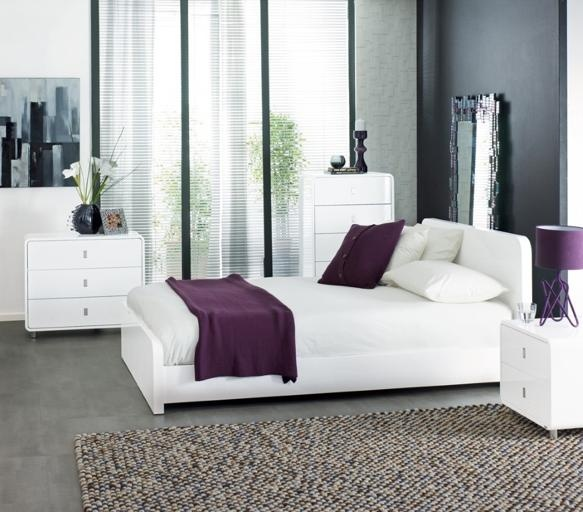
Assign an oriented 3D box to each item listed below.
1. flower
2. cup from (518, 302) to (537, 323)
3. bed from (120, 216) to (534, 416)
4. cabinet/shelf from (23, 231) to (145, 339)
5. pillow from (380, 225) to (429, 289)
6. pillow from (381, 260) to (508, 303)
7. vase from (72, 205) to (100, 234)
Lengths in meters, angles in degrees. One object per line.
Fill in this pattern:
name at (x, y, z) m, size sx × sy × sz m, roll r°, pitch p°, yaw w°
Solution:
flower at (-1.872, -0.761, 5.354) m, size 0.534 × 0.599 × 0.503 m, roll 7°, pitch 5°, yaw 36°
cup at (1.181, 0.286, 2.952) m, size 0.083 × 0.097 × 0.096 m, roll 0°, pitch 0°, yaw -13°
bed at (0.341, 0.203, 3.481) m, size 1.605 × 0.704 × 1.296 m, roll -2°, pitch 4°, yaw -16°
cabinet/shelf at (-1.763, 0.173, 4.983) m, size 0.949 × 0.811 × 0.372 m, roll -2°, pitch 17°, yaw -24°
pillow at (0.794, -0.007, 4.106) m, size 0.147 × 0.377 × 0.368 m, roll 28°, pitch -15°, yaw -19°
pillow at (0.959, 0.163, 3.698) m, size 0.737 × 0.225 × 0.454 m, roll -1°, pitch 19°, yaw -38°
vase at (-1.731, -0.313, 4.985) m, size 0.236 × 0.238 × 0.236 m, roll 0°, pitch 4°, yaw -36°
